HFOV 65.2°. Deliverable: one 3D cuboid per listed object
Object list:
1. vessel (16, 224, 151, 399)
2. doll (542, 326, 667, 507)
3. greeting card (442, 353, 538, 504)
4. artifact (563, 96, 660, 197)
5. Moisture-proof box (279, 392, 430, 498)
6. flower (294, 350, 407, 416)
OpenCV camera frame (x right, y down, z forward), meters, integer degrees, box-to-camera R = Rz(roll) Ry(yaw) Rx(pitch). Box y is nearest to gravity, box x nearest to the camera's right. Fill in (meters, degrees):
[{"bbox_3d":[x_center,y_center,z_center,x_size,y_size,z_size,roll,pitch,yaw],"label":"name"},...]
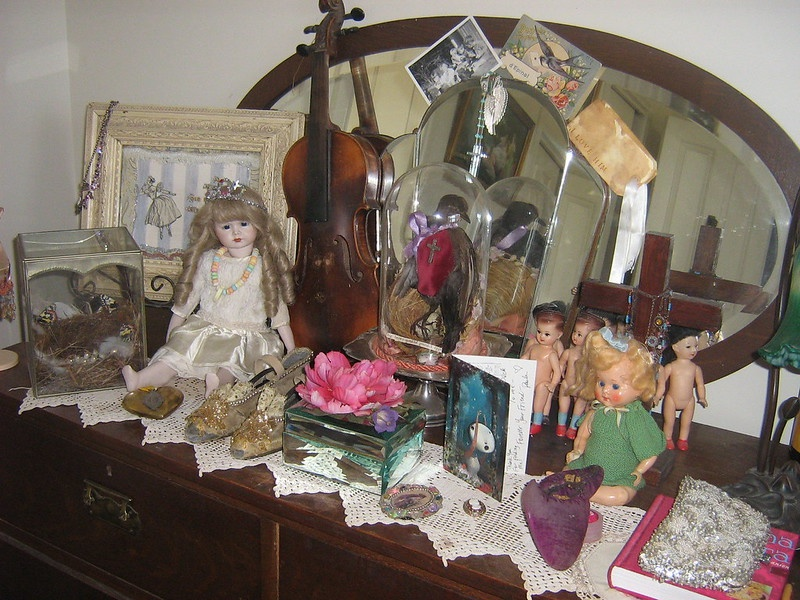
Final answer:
[{"bbox_3d":[-0.727,0.036,1.441,0.281,0.389,0.203,-9,34,-20],"label":"vessel"},{"bbox_3d":[0.408,0.228,1.226,0.200,0.410,0.242,-7,13,-21],"label":"doll"},{"bbox_3d":[0.173,0.252,1.207,0.172,0.290,0.109,22,31,40],"label":"greeting card"},{"bbox_3d":[0.489,-0.353,1.434,0.236,0.179,0.060,49,26,5],"label":"artifact"},{"bbox_3d":[-0.073,0.214,1.232,0.236,0.152,0.168,15,20,23],"label":"Moisture-proof box"},{"bbox_3d":[-0.079,0.117,1.187,0.139,0.052,0.140,24,38,24],"label":"flower"}]
